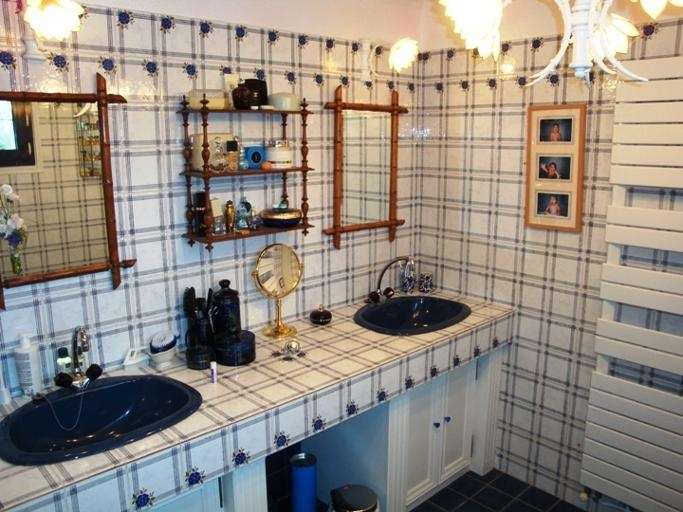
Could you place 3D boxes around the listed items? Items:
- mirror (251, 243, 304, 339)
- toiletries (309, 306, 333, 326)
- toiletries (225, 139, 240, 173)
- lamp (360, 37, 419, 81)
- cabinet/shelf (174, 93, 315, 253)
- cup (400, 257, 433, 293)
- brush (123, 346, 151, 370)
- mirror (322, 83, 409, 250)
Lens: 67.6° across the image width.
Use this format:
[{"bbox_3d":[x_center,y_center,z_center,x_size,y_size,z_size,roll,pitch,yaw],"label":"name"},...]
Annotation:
[{"bbox_3d":[-0.360,0.200,2.985,0.306,0.539,0.180,-5,13,-15],"label":"mirror"},{"bbox_3d":[-0.130,0.381,3.215,0.120,0.084,0.119,-1,5,-7],"label":"toiletries"},{"bbox_3d":[-0.581,-0.537,2.710,0.054,0.171,0.118,0,12,12],"label":"toiletries"},{"bbox_3d":[0.324,-1.282,3.390,0.427,0.252,0.316,-4,17,-22],"label":"lamp"},{"bbox_3d":[-0.563,-0.468,2.813,0.296,0.886,0.868,9,12,44],"label":"cabinet/shelf"},{"bbox_3d":[0.531,0.152,3.697,0.305,0.304,0.172,-4,7,-38],"label":"cup"},{"bbox_3d":[-1.053,0.522,2.618,0.121,0.093,0.065,-7,13,-22],"label":"brush"},{"bbox_3d":[0.173,-0.577,3.417,0.748,1.048,0.106,-12,16,-39],"label":"mirror"}]
